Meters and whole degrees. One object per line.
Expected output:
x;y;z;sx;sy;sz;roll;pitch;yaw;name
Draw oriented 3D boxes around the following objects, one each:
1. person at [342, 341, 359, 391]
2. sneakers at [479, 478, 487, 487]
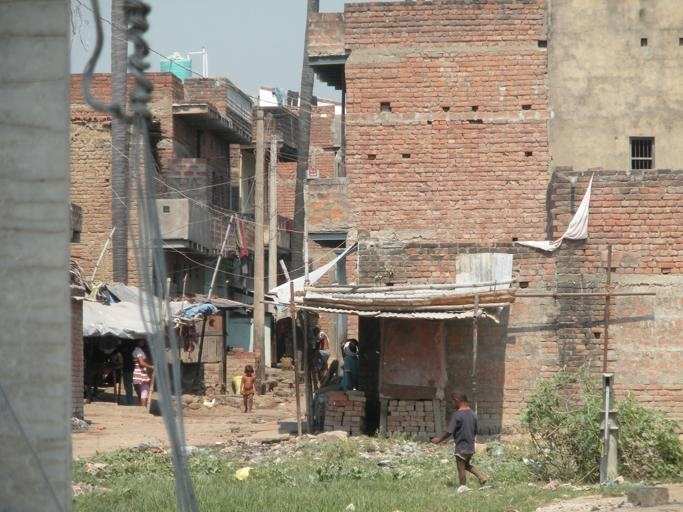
0.162;2.545;44.697;0.345;1.105;0.694;0;-2;1;person
2.819;4.591;39.071;0.141;0.128;0.157;4;-5;-40;sneakers
